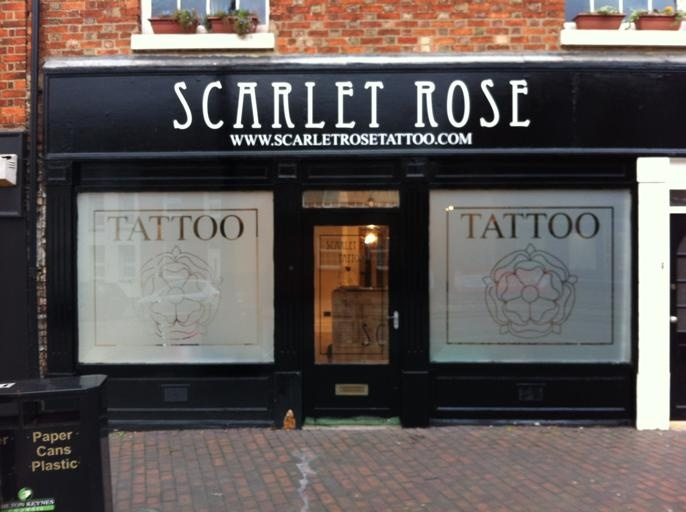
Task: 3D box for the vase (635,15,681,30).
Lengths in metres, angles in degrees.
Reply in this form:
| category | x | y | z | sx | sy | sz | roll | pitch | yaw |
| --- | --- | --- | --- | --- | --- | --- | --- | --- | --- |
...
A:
| category | x | y | z | sx | sy | sz | roll | pitch | yaw |
| --- | --- | --- | --- | --- | --- | --- | --- | --- | --- |
| vase | 4.048 | -3.023 | 11.976 | 0.256 | 0.126 | 0.373 | -3 | 4 | -29 |

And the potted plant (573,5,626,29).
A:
| category | x | y | z | sx | sy | sz | roll | pitch | yaw |
| --- | --- | --- | --- | --- | --- | --- | --- | --- | --- |
| potted plant | 3.307 | -3.065 | 11.989 | 0.453 | 0.203 | 0.326 | 1 | 9 | 5 |
